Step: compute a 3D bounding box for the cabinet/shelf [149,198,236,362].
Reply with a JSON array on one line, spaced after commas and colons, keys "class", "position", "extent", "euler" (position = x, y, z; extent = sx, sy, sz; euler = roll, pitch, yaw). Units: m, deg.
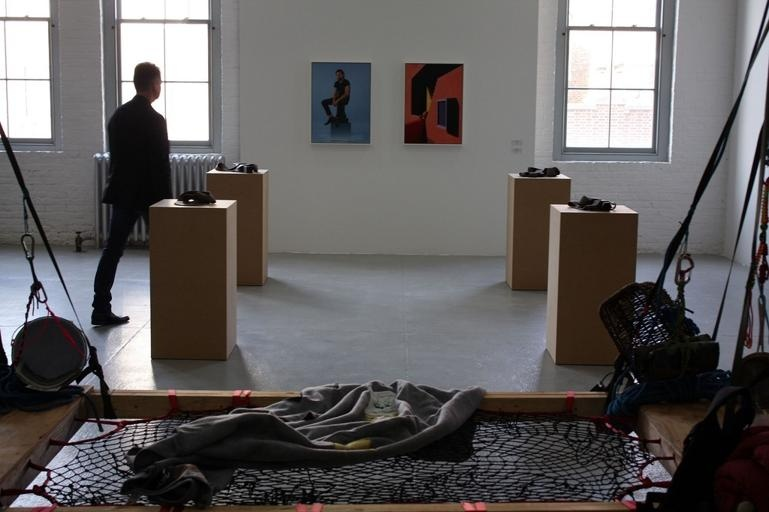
[{"class": "cabinet/shelf", "position": [-1.481, 0.214, 4.518], "extent": [0.583, 1.156, 0.171], "euler": [0, 13, -1]}]

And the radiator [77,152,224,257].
[{"class": "radiator", "position": [-3.140, -0.697, 8.300], "extent": [2.204, 1.408, 0.382], "euler": [0, -3, -6]}]

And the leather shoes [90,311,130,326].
[{"class": "leather shoes", "position": [-2.354, 0.558, 5.200], "extent": [0.361, 0.154, 0.123], "euler": [-1, 5, -30]}]

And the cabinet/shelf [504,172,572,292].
[{"class": "cabinet/shelf", "position": [1.758, -0.057, 6.696], "extent": [0.608, 0.892, 0.610], "euler": [1, 0, 9]}]

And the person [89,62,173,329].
[{"class": "person", "position": [-2.244, -0.410, 5.237], "extent": [0.726, 1.951, 0.565], "euler": [-4, 14, -19]}]

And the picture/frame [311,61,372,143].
[{"class": "picture/frame", "position": [-0.547, -2.084, 7.903], "extent": [1.049, 1.313, 0.087], "euler": [0, 5, -2]}]

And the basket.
[{"class": "basket", "position": [1.465, 0.340, 3.295], "extent": [0.404, 0.396, 0.562], "euler": [-1, 13, -8]}]

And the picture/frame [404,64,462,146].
[{"class": "picture/frame", "position": [0.649, -2.048, 7.875], "extent": [0.962, 1.173, 0.090], "euler": [1, 9, 0]}]
